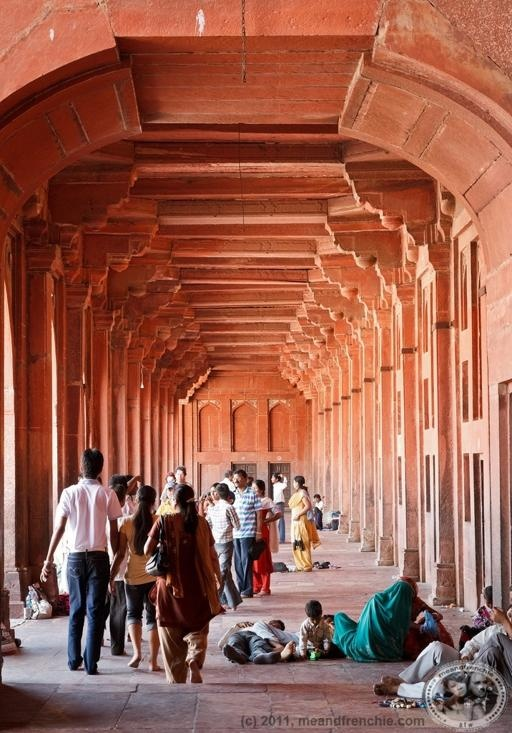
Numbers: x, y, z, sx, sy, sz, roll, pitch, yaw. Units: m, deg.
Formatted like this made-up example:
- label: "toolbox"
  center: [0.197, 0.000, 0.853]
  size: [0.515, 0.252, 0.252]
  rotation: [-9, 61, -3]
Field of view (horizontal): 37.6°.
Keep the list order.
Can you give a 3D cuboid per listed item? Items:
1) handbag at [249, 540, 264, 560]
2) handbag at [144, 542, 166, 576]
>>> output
- label: "handbag"
  center: [0.006, 2.489, 10.292]
  size: [0.079, 0.271, 0.267]
  rotation: [8, -6, 41]
- label: "handbag"
  center: [-0.621, 1.189, 4.670]
  size: [0.118, 0.272, 0.282]
  rotation: [6, -14, -10]
